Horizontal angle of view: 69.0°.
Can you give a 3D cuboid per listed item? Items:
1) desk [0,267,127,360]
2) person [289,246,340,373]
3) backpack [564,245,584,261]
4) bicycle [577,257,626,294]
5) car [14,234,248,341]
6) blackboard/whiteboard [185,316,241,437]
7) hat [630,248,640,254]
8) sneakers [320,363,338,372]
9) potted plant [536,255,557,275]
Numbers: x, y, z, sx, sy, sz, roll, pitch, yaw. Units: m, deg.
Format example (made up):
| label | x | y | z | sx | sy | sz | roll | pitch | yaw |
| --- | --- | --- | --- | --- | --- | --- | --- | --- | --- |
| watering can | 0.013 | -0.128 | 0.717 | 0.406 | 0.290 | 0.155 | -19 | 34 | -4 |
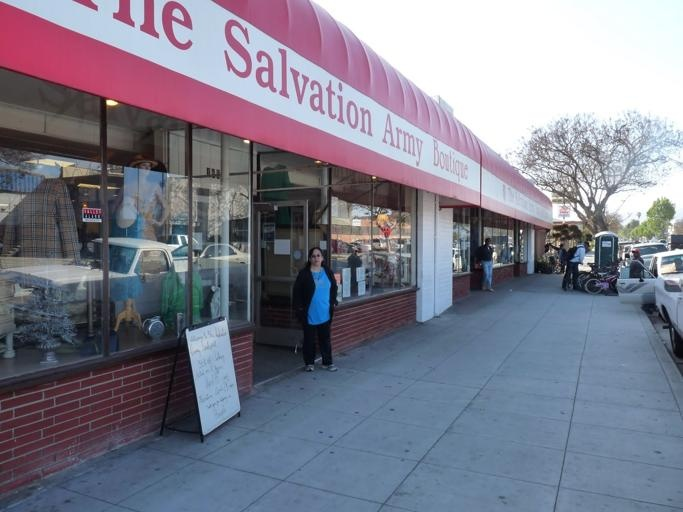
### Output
| label | x | y | z | sx | sy | sz | roll | pitch | yaw |
| --- | --- | --- | --- | --- | --- | --- | --- | --- | --- |
| desk | -2.820 | 0.481 | 5.099 | 0.815 | 0.886 | 0.861 | 5 | 6 | 25 |
| person | -0.416 | 0.839 | 7.780 | 0.666 | 1.903 | 0.306 | 0 | 3 | -4 |
| backpack | 9.147 | -0.101 | 19.240 | 0.352 | 0.638 | 0.824 | -1 | 4 | -18 |
| bicycle | 9.575 | 0.883 | 18.451 | 1.257 | 0.987 | 1.649 | 3 | 4 | 28 |
| car | -2.402 | 0.302 | 5.802 | 0.952 | 0.790 | 1.536 | 3 | 2 | 35 |
| blackboard/whiteboard | -1.460 | 1.328 | 5.603 | 0.256 | 1.113 | 0.699 | 2 | 4 | 24 |
| hat | 9.927 | -0.177 | 16.748 | 0.143 | 0.182 | 0.189 | -13 | -50 | 41 |
| sneakers | -0.178 | 1.765 | 7.866 | 0.184 | 0.091 | 0.112 | -1 | 1 | 24 |
| potted plant | 12.514 | 0.541 | 30.429 | 0.903 | 0.972 | 2.330 | 3 | 5 | 35 |
